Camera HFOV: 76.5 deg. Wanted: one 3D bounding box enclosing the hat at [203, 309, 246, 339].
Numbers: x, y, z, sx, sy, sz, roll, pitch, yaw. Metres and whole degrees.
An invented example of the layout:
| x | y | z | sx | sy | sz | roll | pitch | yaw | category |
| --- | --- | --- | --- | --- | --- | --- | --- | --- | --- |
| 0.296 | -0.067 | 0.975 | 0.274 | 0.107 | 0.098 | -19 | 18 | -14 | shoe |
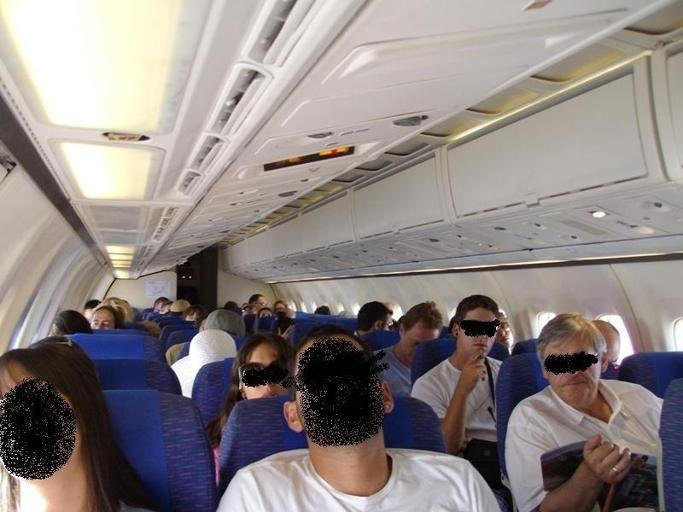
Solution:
| x | y | z | sx | sy | sz | roll | pitch | yaw | category |
| --- | --- | --- | --- | --- | --- | --- | --- | --- | --- |
| -1.587 | 0.933 | 5.943 | 0.425 | 0.230 | 0.523 | 2 | 2 | 12 | hat |

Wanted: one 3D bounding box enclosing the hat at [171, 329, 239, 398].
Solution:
| x | y | z | sx | sy | sz | roll | pitch | yaw | category |
| --- | --- | --- | --- | --- | --- | --- | --- | --- | --- |
| -1.303 | 1.057 | 4.201 | 0.912 | 0.715 | 0.457 | 3 | 16 | -8 | hat |
